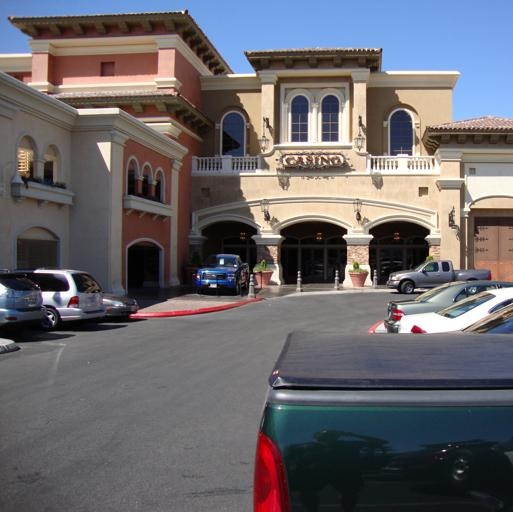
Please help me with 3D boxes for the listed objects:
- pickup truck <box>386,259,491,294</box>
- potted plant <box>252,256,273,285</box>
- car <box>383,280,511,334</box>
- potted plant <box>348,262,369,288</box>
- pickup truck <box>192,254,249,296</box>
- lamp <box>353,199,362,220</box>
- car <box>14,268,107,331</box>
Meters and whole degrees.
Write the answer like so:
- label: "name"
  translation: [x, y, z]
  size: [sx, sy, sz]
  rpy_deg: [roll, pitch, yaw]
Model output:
- label: "pickup truck"
  translation: [7.129, 0.740, 25.510]
  size: [3.861, 1.316, 1.607]
  rpy_deg: [1, -2, 5]
- label: "potted plant"
  translation: [0.354, 0.864, 32.891]
  size: [1.163, 1.349, 1.223]
  rpy_deg: [0, -8, 3]
- label: "car"
  translation: [3.570, 0.912, 12.744]
  size: [2.674, 0.921, 1.113]
  rpy_deg: [0, -4, -8]
- label: "potted plant"
  translation: [4.888, 0.862, 31.734]
  size: [1.112, 1.294, 1.170]
  rpy_deg: [1, 4, 19]
- label: "pickup truck"
  translation: [-1.526, 0.796, 27.123]
  size: [1.575, 1.353, 4.090]
  rpy_deg: [0, -3, 9]
- label: "lamp"
  translation: [5.183, -2.359, 32.965]
  size: [0.372, 1.028, 0.581]
  rpy_deg: [-3, 1, 6]
- label: "car"
  translation: [-4.728, 0.911, 15.522]
  size: [1.901, 0.879, 1.040]
  rpy_deg: [3, 1, 14]
